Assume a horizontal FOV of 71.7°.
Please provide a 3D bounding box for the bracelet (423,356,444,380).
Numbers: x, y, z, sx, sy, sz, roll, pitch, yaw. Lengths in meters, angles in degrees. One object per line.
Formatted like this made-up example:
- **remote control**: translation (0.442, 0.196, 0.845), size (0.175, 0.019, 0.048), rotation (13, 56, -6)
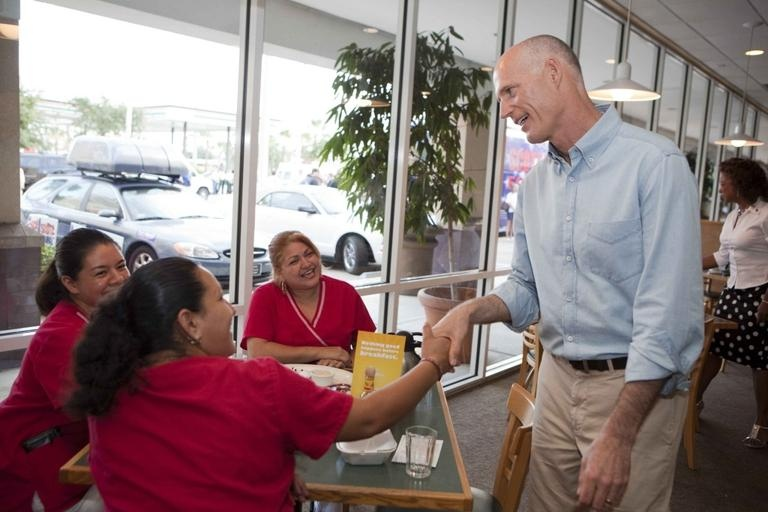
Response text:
- **bracelet**: translation (0.167, 0.366, 1.786), size (0.018, 0.072, 0.066), rotation (-33, 56, -17)

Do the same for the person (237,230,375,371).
- **person**: translation (-0.443, 0.272, 2.991), size (0.777, 0.823, 0.500), rotation (-5, -8, -25)

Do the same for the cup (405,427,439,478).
- **cup**: translation (0.127, 0.720, 2.009), size (0.131, 0.172, 0.140), rotation (-1, 9, 0)

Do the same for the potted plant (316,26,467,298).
- **potted plant**: translation (0.102, -0.645, 4.612), size (1.340, 1.886, 1.132), rotation (7, 20, 33)
